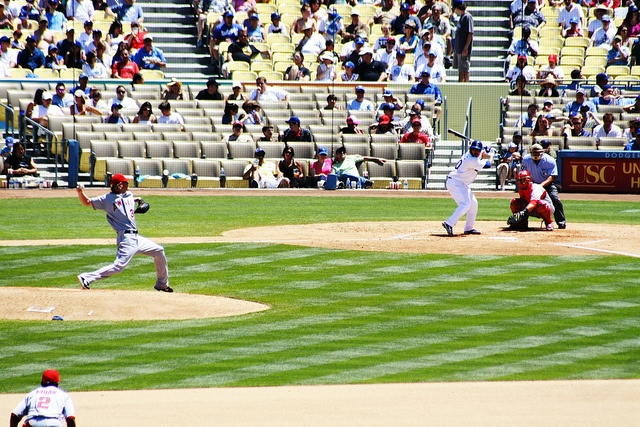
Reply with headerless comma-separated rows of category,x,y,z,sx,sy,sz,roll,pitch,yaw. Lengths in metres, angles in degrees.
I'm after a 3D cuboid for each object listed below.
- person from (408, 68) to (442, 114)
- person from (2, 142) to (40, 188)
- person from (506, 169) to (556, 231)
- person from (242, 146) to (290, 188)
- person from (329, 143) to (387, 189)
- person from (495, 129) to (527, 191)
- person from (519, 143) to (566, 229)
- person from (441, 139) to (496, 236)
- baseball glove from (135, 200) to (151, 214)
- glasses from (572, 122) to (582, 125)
person,3.627,-4.153,53.506,0.909,1.490,0.841,1,0,17
person,-9.104,-1.453,48.239,1.155,1.438,0.834,2,0,-22
person,5.742,-0.330,42.832,1.212,1.604,0.604,0,3,4
person,-1.652,-1.254,49.433,1.433,0.889,0.515,0,3,-3
person,1.216,-1.369,49.690,2.025,0.907,1.224,-22,35,-23
person,6.070,-1.618,50.217,0.826,1.753,0.975,0,0,4
person,6.257,-0.749,43.459,1.486,2.196,1.187,-5,6,1
person,3.935,-0.660,41.871,1.269,2.524,0.987,1,3,5
baseball glove,-4.182,-0.097,37.052,0.421,0.159,0.236,-8,34,49
glasses,8.359,-2.918,51.015,0.150,0.129,0.151,8,11,44
